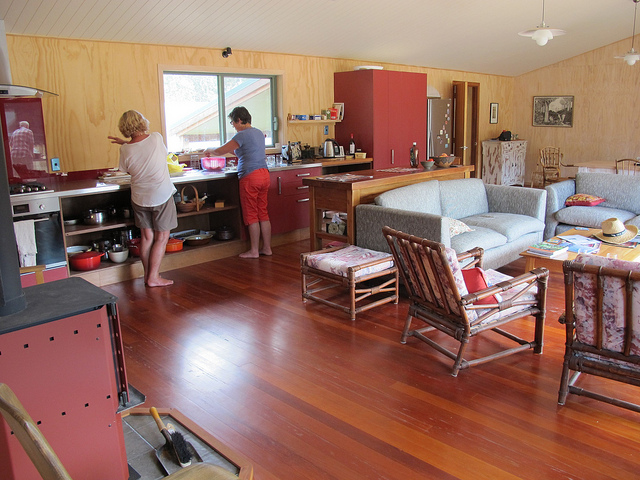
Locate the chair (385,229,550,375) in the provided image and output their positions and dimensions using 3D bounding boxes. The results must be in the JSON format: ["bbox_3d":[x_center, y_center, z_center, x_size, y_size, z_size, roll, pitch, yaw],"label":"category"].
[{"bbox_3d":[1.039,0.374,3.367,1.111,0.797,0.910,-2,10,-10],"label":"chair"}]

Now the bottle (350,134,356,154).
[{"bbox_3d":[0.499,-1.501,7.175,0.105,0.289,0.256,-6,15,5],"label":"bottle"}]

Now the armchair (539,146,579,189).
[{"bbox_3d":[5.266,-1.678,10.393,0.554,0.795,1.381,1,16,26],"label":"armchair"}]

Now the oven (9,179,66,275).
[{"bbox_3d":[-2.737,-0.161,4.466,0.453,0.826,0.789,-15,17,-27],"label":"oven"}]

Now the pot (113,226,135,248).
[{"bbox_3d":[-2.222,-0.031,5.213,0.249,0.233,0.236,0,8,0],"label":"pot"}]

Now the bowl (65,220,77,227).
[{"bbox_3d":[-2.591,-0.183,4.807,0.075,0.063,0.179,-7,14,-4],"label":"bowl"}]

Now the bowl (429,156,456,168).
[{"bbox_3d":[1.522,-0.954,5.631,0.197,0.142,0.223,-6,15,0],"label":"bowl"}]

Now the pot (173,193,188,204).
[{"bbox_3d":[-1.723,-0.506,5.688,0.193,0.114,0.163,3,4,4],"label":"pot"}]

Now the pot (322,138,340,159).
[{"bbox_3d":[0.219,-1.382,6.931,0.360,0.318,0.212,-3,7,-36],"label":"pot"}]

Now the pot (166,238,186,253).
[{"bbox_3d":[-1.694,0.066,5.301,0.195,0.142,0.111,-10,16,-16],"label":"pot"}]

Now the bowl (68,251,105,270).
[{"bbox_3d":[-2.448,0.197,4.739,0.178,0.113,0.321,11,15,43],"label":"bowl"}]

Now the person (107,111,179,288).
[{"bbox_3d":[-1.709,-0.390,4.647,0.485,1.781,0.288,-12,17,-17],"label":"person"}]

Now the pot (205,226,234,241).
[{"bbox_3d":[-1.228,-0.085,5.755,0.281,0.101,0.171,4,8,39],"label":"pot"}]

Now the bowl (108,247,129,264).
[{"bbox_3d":[-2.177,0.166,4.938,0.195,0.121,0.183,0,0,0],"label":"bowl"}]

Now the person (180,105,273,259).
[{"bbox_3d":[-0.978,-0.702,5.700,0.696,1.798,0.689,-14,17,-24],"label":"person"}]
